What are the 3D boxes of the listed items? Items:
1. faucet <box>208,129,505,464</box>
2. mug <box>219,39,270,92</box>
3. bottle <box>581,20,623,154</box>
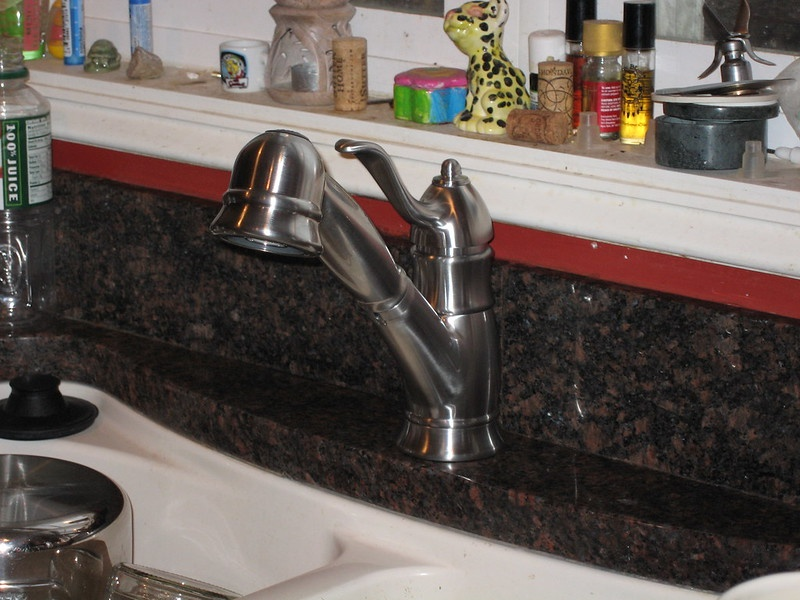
[{"bbox_3d":[-0.029,0.009,0.960,0.120,0.332,0.354,9,11,43],"label":"faucet"},{"bbox_3d":[-0.216,-0.325,1.335,0.067,0.074,0.060,-1,11,-9],"label":"mug"},{"bbox_3d":[0.227,-0.246,1.086,0.048,0.131,0.055,3,12,11],"label":"bottle"}]
